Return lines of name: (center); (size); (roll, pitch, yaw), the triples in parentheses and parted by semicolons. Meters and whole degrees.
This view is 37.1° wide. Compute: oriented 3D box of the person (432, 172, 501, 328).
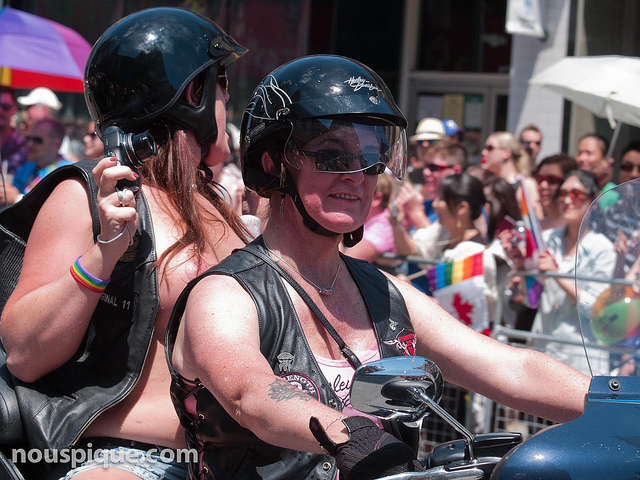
person: (1.059, 0.073, 6.739); (0.478, 0.338, 1.170); (-5, 45, 14)

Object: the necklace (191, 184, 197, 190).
necklace: (-0.558, -0.242, 4.243); (0.023, 0.006, 0.024); (-1, -19, -5)

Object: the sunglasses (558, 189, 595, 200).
sunglasses: (1.820, -0.327, 6.717); (0.121, 0.040, 0.117); (14, -11, -41)

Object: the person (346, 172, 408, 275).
person: (0.500, -0.170, 7.372); (0.705, 0.697, 0.577); (6, -12, -7)

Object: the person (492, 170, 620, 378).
person: (1.461, 0.224, 6.191); (0.744, 1.705, 0.726); (8, 41, 11)

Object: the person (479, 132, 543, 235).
person: (1.510, -0.431, 7.559); (0.262, 0.354, 0.830); (9, 25, 4)
